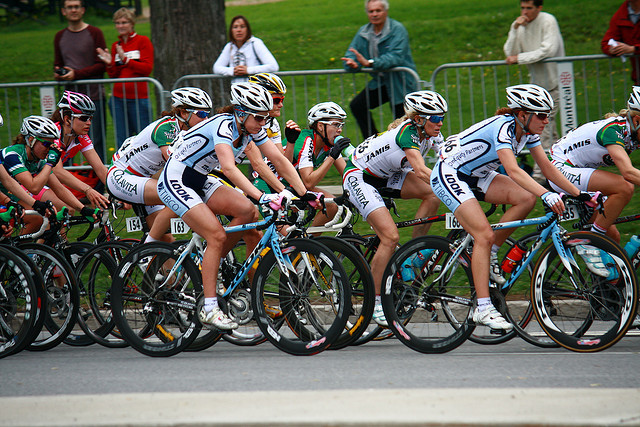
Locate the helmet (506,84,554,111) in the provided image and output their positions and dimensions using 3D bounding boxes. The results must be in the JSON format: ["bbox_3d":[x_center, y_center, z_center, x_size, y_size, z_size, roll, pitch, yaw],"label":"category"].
[{"bbox_3d":[2.277,-1.215,9.183,0.550,0.216,0.400,2,2,30],"label":"helmet"}]

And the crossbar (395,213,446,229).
[{"bbox_3d":[1.281,0.103,10.582,0.806,0.120,0.135,-10,1,40],"label":"crossbar"}]

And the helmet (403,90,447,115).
[{"bbox_3d":[1.204,-1.283,9.619,0.379,0.119,0.276,1,-28,26],"label":"helmet"}]

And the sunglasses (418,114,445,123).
[{"bbox_3d":[1.310,-1.090,9.656,0.312,0.093,0.138,-4,7,-20],"label":"sunglasses"}]

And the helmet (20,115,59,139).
[{"bbox_3d":[-3.455,-1.070,10.262,0.361,0.154,0.264,18,25,13],"label":"helmet"}]

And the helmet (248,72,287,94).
[{"bbox_3d":[-0.661,-1.558,10.190,0.359,0.135,0.257,16,10,7],"label":"helmet"}]

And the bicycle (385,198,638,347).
[{"bbox_3d":[2.182,0.591,9.483,2.515,1.592,1.399,0,7,13],"label":"bicycle"}]

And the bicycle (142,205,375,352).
[{"bbox_3d":[-1.007,0.739,9.405,2.730,1.569,1.221,-1,-3,10],"label":"bicycle"}]

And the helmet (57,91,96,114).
[{"bbox_3d":[-3.096,-1.404,10.530,0.371,0.184,0.270,4,27,12],"label":"helmet"}]

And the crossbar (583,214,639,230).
[{"bbox_3d":[3.397,0.075,9.774,0.276,0.053,0.629,-4,-6,-45],"label":"crossbar"}]

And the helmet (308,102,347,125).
[{"bbox_3d":[0.092,-1.271,10.605,0.347,0.176,0.244,-7,6,15],"label":"helmet"}]

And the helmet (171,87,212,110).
[{"bbox_3d":[-1.556,-1.359,9.941,0.374,0.165,0.259,1,7,12],"label":"helmet"}]

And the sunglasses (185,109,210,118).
[{"bbox_3d":[-1.479,-1.186,9.957,0.277,0.101,0.101,-2,7,-7],"label":"sunglasses"}]

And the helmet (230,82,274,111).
[{"bbox_3d":[-0.821,-1.278,9.184,0.562,0.227,0.409,6,10,20],"label":"helmet"}]

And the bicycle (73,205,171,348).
[{"bbox_3d":[-2.549,0.866,10.509,0.909,1.571,2.305,-12,-14,7],"label":"bicycle"}]

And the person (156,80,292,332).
[{"bbox_3d":[-1.124,-0.063,9.368,1.362,2.752,0.952,-3,6,-12],"label":"person"}]
